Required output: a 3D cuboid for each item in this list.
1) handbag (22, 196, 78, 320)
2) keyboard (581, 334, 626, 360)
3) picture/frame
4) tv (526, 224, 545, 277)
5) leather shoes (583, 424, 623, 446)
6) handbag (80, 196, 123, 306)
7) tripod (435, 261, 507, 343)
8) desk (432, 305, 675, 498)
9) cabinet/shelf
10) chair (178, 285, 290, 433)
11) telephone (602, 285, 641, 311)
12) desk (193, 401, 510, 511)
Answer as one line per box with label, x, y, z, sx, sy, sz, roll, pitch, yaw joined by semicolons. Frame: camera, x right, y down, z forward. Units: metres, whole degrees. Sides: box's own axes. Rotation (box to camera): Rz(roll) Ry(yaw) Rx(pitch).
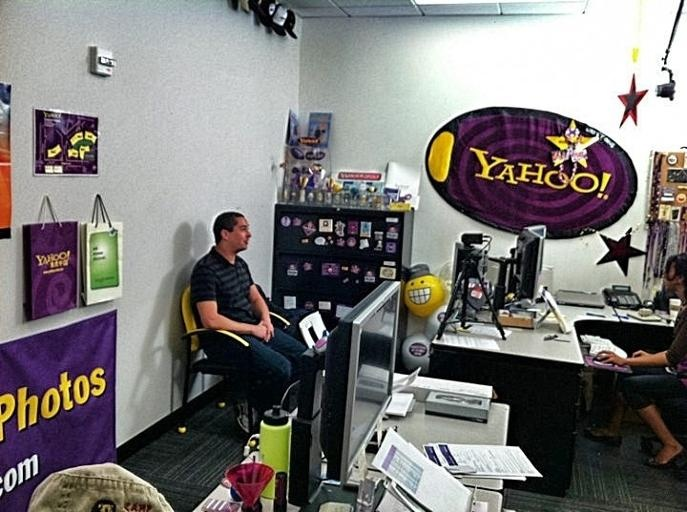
handbag;-1.601;0.068;2.799;0.100;0.492;0.350;5;13;12
keyboard;1.898;0.661;3.799;0.222;0.069;0.222;19;21;35
picture/frame;-1.534;-0.625;2.862;0.458;0.342;0.016;6;9;21
tv;1.401;-0.036;3.766;0.135;0.446;0.434;2;-1;19
leather shoes;2.026;1.401;4.001;0.302;0.124;0.115;12;13;29
handbag;-1.454;-0.040;3.071;0.095;0.633;0.315;5;13;13
tripod;0.902;0.296;3.579;0.431;0.584;0.396;-1;-4;32
desk;1.312;0.809;3.843;1.325;0.725;1.368;3;14;18
cabinet/shelf;-0.007;0.055;4.439;1.064;1.100;0.394;4;11;10
chair;-0.936;0.700;4.298;0.906;1.389;0.891;2;6;21
telephone;2.487;0.376;4.587;0.176;0.118;0.298;2;9;6
desk;0.088;0.808;2.048;0.967;0.244;0.667;1;3;13
